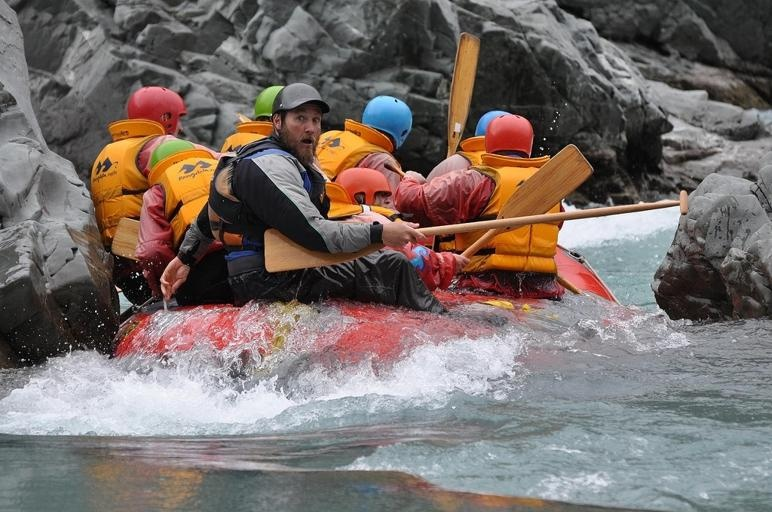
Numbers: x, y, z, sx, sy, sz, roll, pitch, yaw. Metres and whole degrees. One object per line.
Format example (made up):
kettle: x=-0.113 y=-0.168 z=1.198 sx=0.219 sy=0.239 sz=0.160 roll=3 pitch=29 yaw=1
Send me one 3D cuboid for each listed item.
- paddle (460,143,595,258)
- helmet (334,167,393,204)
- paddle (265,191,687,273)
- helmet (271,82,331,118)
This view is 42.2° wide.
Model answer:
paddle: x=1.406 y=-0.557 z=9.337 sx=1.788 sy=0.452 sz=0.094 roll=-39 pitch=9 yaw=17
helmet: x=-0.236 y=-0.717 z=10.174 sx=0.535 sy=0.374 sz=0.352 roll=-1 pitch=15 yaw=-12
paddle: x=0.549 y=-0.162 z=8.781 sx=3.251 sy=0.574 sz=0.568 roll=-1 pitch=11 yaw=2
helmet: x=-0.837 y=-1.402 z=8.940 sx=0.315 sy=0.174 sz=0.394 roll=-2 pitch=-3 yaw=-34
